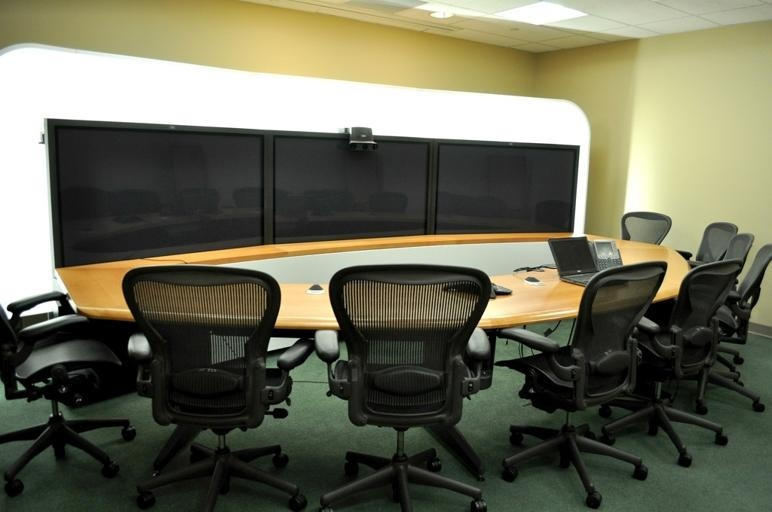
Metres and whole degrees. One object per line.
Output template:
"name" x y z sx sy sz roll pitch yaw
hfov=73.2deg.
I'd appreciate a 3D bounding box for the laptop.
"laptop" 1.689 0.027 4.455 0.635 0.318 0.481 -5 2 -29
